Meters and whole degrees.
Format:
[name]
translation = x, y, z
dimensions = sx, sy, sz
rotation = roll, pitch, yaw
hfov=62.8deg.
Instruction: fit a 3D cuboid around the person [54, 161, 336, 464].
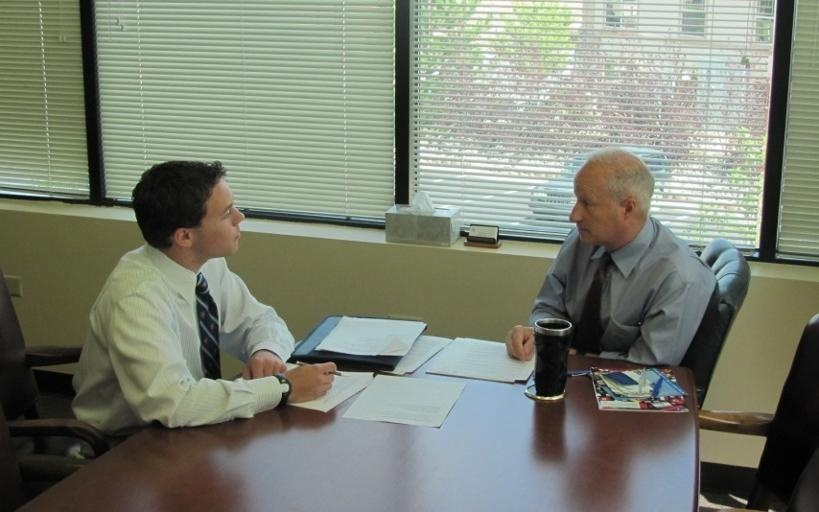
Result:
[person]
translation = -0.890, 0.202, 2.875
dimensions = 1.169, 1.138, 0.897
rotation = 13, 18, 29
